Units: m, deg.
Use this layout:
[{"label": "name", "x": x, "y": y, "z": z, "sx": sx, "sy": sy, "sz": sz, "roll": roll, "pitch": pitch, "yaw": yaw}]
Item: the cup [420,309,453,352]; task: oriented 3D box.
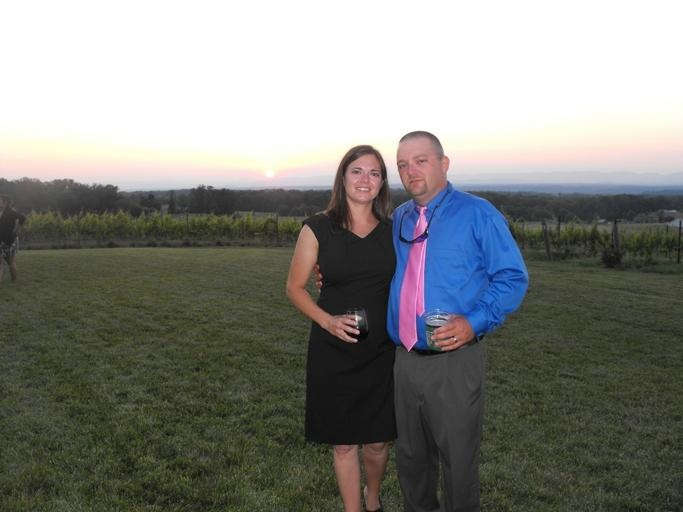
[{"label": "cup", "x": 0.676, "y": 0.564, "z": 3.325, "sx": 0.218, "sy": 0.319, "sz": 0.153, "roll": 4, "pitch": 8, "yaw": 19}]

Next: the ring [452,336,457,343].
[{"label": "ring", "x": 0.800, "y": 0.602, "z": 3.271, "sx": 0.038, "sy": 0.015, "sz": 0.055, "roll": 6, "pitch": -1, "yaw": 8}]

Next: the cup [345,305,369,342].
[{"label": "cup", "x": 0.141, "y": 0.524, "z": 3.558, "sx": 0.190, "sy": 0.290, "sz": 0.212, "roll": 0, "pitch": 4, "yaw": 9}]
